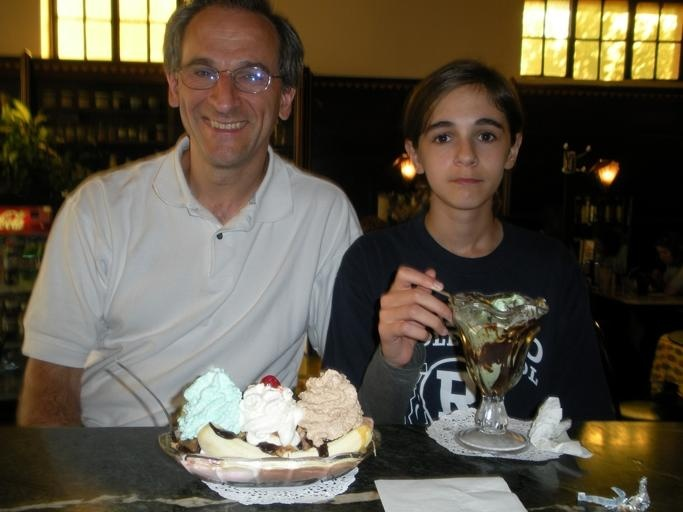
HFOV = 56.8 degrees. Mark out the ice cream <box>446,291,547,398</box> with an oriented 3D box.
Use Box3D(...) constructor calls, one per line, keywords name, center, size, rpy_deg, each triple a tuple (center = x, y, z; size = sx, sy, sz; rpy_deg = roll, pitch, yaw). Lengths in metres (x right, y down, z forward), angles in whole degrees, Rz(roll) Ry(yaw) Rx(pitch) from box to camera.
Box3D(name="ice cream", center=(0.472, 0.250, 2.018), size=(0.309, 0.325, 0.300), rpy_deg=(0, -1, 39))
